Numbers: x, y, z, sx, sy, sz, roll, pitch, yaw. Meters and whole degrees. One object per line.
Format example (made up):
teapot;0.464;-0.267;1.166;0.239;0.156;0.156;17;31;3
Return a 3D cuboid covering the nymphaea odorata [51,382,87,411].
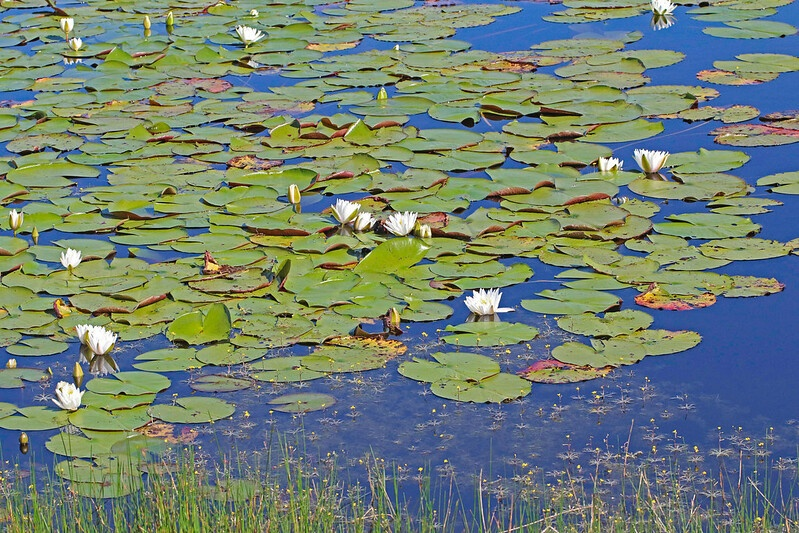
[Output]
nymphaea odorata;-2.199;0.868;6.981;0.245;0.086;0.234;-5;7;-19

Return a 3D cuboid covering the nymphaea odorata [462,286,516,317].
nymphaea odorata;0.640;0.283;7.622;0.312;0.094;0.289;-16;22;-27

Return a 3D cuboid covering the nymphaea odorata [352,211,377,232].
nymphaea odorata;-0.270;-0.370;8.549;0.146;0.164;0.258;8;25;23

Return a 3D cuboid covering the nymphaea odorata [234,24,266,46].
nymphaea odorata;-1.753;-2.681;12.223;0.370;0.159;0.362;22;19;34

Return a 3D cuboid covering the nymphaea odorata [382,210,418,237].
nymphaea odorata;0.012;-0.329;8.422;0.259;0.220;0.244;-4;25;1

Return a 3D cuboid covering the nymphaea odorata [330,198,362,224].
nymphaea odorata;-0.446;-0.439;8.518;0.266;0.218;0.131;5;30;18

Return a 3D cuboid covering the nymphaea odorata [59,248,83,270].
nymphaea odorata;-2.546;-0.066;8.086;0.207;0.080;0.195;-12;31;-25
